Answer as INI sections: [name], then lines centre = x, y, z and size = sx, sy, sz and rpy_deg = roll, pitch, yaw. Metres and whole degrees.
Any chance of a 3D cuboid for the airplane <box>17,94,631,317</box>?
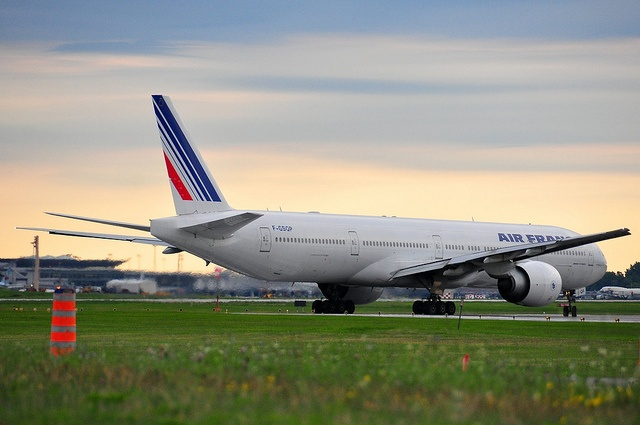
[airplane]
centre = 2.056, 0.134, 50.631
size = 22.411, 8.879, 8.471
rpy_deg = 2, -6, -35
